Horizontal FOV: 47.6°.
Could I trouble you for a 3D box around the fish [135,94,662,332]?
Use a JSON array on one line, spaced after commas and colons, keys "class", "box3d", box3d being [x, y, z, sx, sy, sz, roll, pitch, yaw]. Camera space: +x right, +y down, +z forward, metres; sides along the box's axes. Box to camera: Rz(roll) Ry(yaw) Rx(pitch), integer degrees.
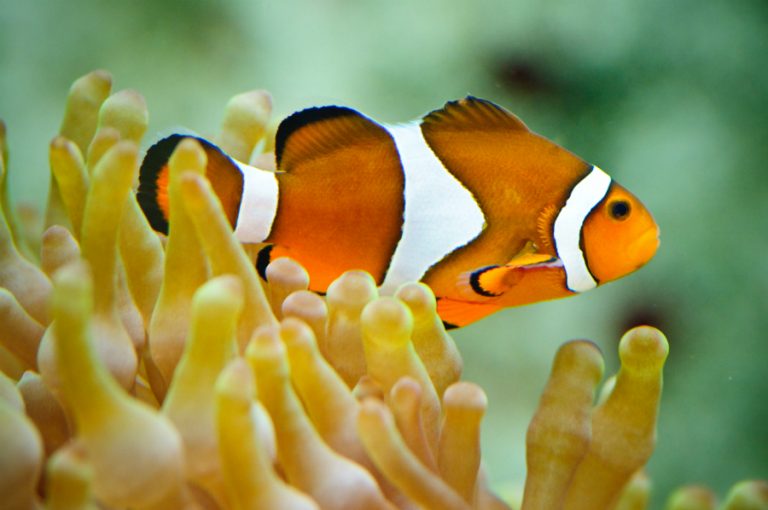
[{"class": "fish", "box3d": [0.073, -0.078, 1.566, 0.831, 0.427, 0.206, 25, -15, -11]}]
